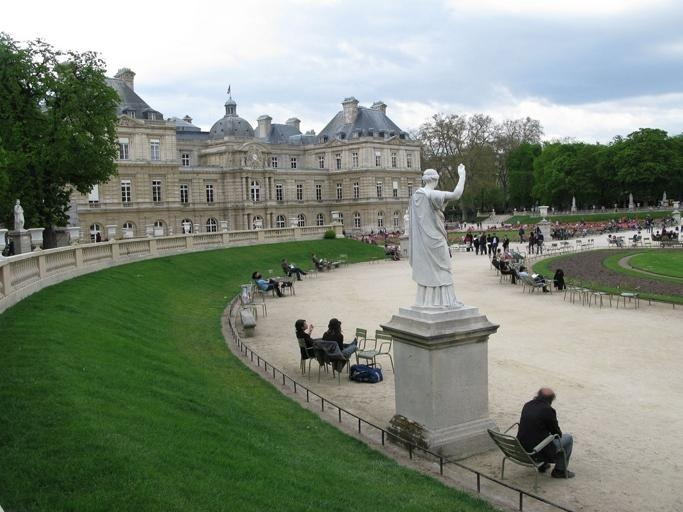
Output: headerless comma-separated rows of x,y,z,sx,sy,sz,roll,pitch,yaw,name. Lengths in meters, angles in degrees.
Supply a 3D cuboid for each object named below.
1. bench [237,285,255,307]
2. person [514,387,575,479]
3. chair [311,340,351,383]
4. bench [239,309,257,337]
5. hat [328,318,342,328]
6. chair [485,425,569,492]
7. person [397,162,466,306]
-3.891,1.648,27.017,0.715,1.324,0.704,0,10,-3,bench
3.744,3.328,12.369,1.119,1.823,0.845,-12,15,-30,person
-0.385,2.707,17.192,0.872,1.032,0.988,5,9,26,chair
-3.117,2.203,21.962,0.366,0.542,1.454,-1,1,-9,bench
-0.197,1.793,17.200,0.289,0.349,0.333,1,12,5,hat
3.326,3.620,12.243,1.105,1.052,0.899,-11,9,-32,chair
1.838,-0.361,13.321,1.128,2.755,0.720,-1,3,18,person
